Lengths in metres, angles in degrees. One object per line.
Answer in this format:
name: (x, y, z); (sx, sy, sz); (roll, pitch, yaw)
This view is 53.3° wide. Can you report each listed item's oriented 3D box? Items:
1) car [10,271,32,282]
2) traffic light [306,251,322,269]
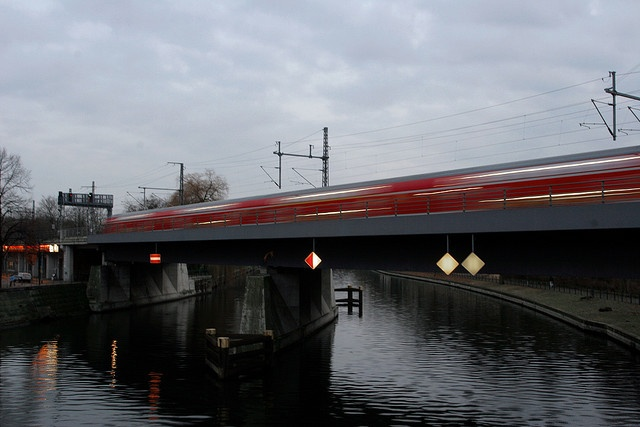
car: (-36.059, 7.613, 77.160); (1.349, 0.742, 1.759); (-9, -16, 33)
traffic light: (-0.372, 2.977, 41.995); (1.506, 1.189, 0.174); (-2, 5, 1)
